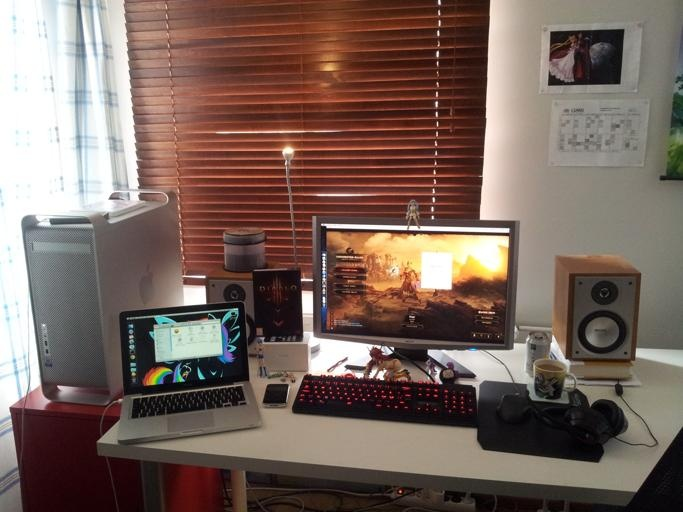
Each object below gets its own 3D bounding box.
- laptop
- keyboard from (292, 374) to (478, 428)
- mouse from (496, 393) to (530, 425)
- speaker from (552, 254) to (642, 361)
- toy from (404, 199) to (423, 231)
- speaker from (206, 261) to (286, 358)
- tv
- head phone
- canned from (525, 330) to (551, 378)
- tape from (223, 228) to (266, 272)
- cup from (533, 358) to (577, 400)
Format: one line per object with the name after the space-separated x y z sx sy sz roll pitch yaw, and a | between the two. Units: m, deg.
-0.540 0.384 2.098 0.597 0.433 0.557 -1 16 -11 | laptop
0.140 0.514 1.992 0.622 0.080 0.238 1 20 7 | keyboard
0.592 0.517 1.895 0.076 0.027 0.092 1 27 16 | mouse
0.990 0.195 2.150 0.274 0.421 0.265 5 17 15 | speaker
0.282 -0.165 2.177 0.056 0.109 0.130 0 9 6 | toy
-0.408 0.205 2.395 0.268 0.376 0.269 4 17 7 | speaker
0.284 0.133 2.206 0.787 0.531 0.180 2 7 8 | tv
0.789 0.523 1.822 0.158 0.069 0.189 -10 1 -40 | head phone
0.779 0.386 2.190 0.098 0.164 0.092 5 15 29 | canned
-0.420 -0.029 2.465 0.201 0.182 0.173 1 9 9 | tape
0.759 0.442 1.984 0.164 0.136 0.149 -6 13 1 | cup
